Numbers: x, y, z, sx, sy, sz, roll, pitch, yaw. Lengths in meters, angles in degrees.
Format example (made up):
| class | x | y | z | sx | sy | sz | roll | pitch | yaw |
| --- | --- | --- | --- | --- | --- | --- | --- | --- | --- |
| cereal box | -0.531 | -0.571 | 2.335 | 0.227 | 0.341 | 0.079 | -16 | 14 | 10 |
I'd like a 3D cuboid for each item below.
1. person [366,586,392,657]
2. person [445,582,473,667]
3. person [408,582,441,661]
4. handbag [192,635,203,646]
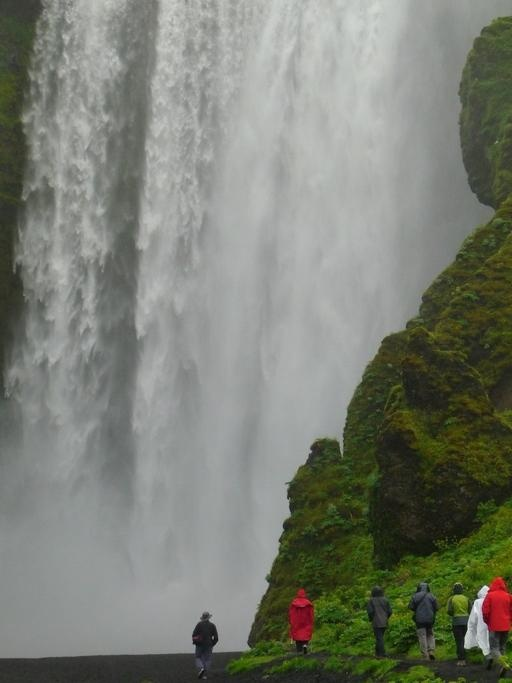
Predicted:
| class | x | y | z | sx | sy | sz | roll | pitch | yaw |
| --- | --- | --- | --- | --- | --- | --- | --- | --- | --- |
| person | 4.035 | 8.968 | 41.523 | 0.680 | 2.272 | 0.681 | 1 | -9 | -17 |
| person | 6.454 | 8.782 | 40.323 | 0.714 | 2.504 | 0.684 | 4 | -14 | -16 |
| person | 5.426 | 8.799 | 40.835 | 0.843 | 1.757 | 1.451 | -5 | -46 | 2 |
| handbag | -1.975 | 10.119 | 43.831 | 0.301 | 0.151 | 0.390 | 1 | -49 | -5 |
